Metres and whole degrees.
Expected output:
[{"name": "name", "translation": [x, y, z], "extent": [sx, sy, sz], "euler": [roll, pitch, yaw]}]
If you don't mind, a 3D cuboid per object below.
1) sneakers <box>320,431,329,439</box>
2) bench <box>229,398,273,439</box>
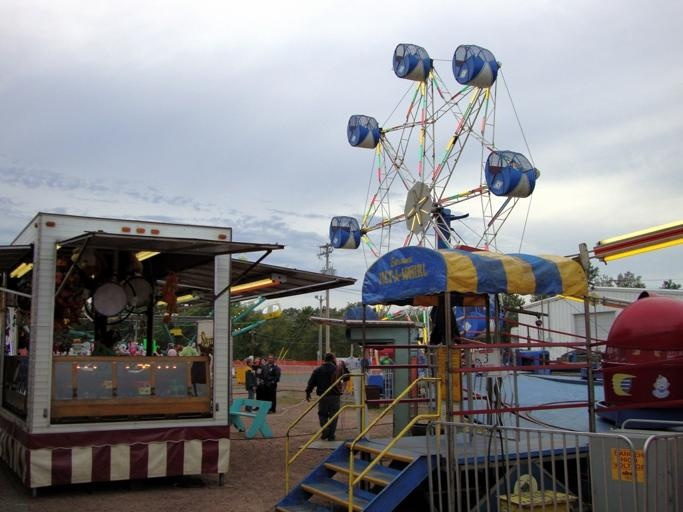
[{"name": "sneakers", "translation": [-0.384, 4.206, 16.393], "extent": [0.064, 0.205, 0.147], "euler": [4, -12, -44]}, {"name": "bench", "translation": [-2.379, 4.012, 17.510], "extent": [0.795, 0.884, 1.396], "euler": [14, -13, -38]}]
